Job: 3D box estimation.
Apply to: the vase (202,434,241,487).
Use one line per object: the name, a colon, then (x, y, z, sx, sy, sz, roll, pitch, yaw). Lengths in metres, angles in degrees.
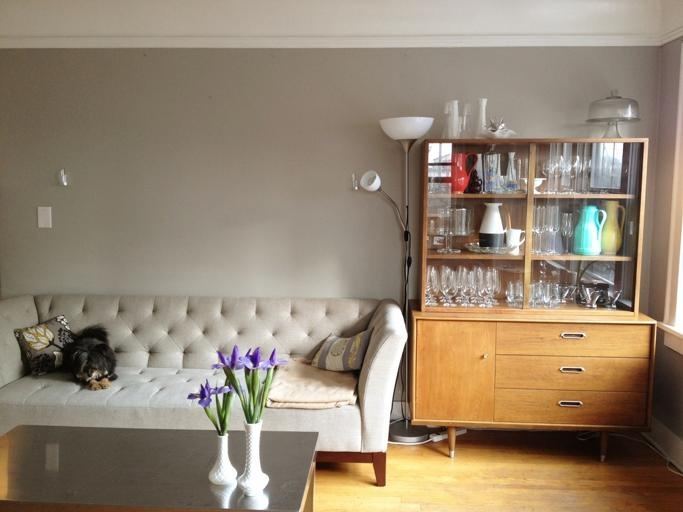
vase: (-0.632, 1.033, 3.150, 0.150, 0.265, 0.260, -2, 6, -14)

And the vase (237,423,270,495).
vase: (-0.457, 1.012, 3.102, 0.156, 0.354, 0.261, -1, 5, -6)

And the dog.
dog: (-1.761, 0.710, 4.138, 0.313, 0.232, 0.597, -13, 22, -36)

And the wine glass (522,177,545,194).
wine glass: (1.330, -0.487, 4.147, 0.120, 0.075, 0.120, 1, 0, 5)

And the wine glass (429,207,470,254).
wine glass: (0.749, -0.171, 4.170, 0.303, 0.346, 0.301, 1, -2, 0)

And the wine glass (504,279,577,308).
wine glass: (1.374, 0.243, 4.181, 0.367, 0.132, 0.222, 1, -1, 4)

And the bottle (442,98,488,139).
bottle: (0.867, -0.987, 4.374, 0.391, 0.373, 0.258, 1, 4, -2)

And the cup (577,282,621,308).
cup: (1.762, 0.265, 4.086, 0.181, 0.105, 0.223, 4, 5, 42)

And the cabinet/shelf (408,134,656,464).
cabinet/shelf: (1.321, 0.277, 4.332, 1.566, 2.148, 0.802, 0, 4, 16)

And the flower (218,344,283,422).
flower: (-0.453, 0.671, 3.055, 0.287, 0.396, 0.356, -2, -6, 39)

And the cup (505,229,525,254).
cup: (1.203, -0.109, 4.051, 0.110, 0.172, 0.175, -2, -5, 30)
